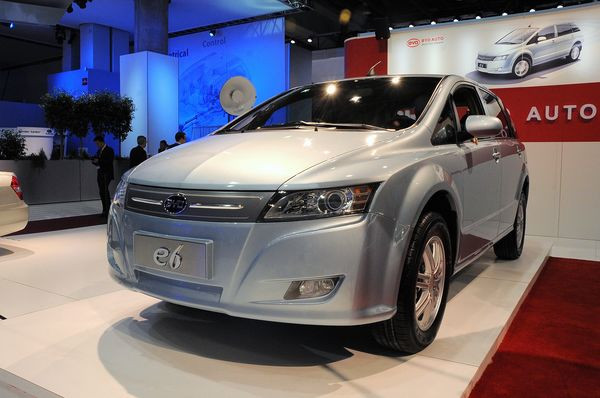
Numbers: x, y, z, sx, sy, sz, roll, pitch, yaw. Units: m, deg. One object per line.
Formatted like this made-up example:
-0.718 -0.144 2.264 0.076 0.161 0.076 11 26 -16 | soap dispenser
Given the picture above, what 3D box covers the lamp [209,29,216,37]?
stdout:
-3.898 -7.322 16.286 0.200 0.276 0.271 7 18 40 | lamp
